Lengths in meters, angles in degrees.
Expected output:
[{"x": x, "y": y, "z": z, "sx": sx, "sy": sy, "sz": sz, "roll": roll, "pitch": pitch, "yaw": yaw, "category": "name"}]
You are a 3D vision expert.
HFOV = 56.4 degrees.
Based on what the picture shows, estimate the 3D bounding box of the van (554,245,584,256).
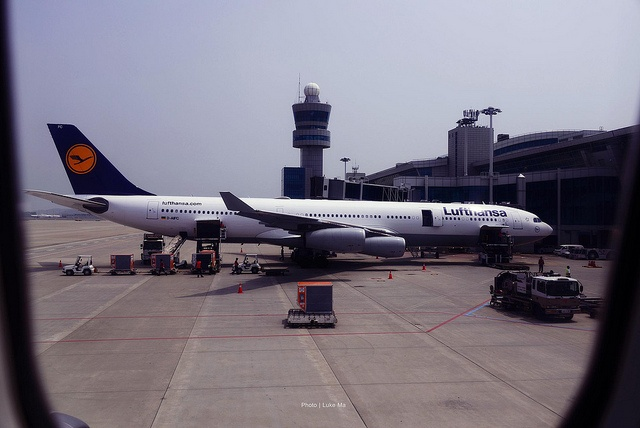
[{"x": 22.939, "y": 3.382, "z": 55.154, "sx": 1.928, "sy": 0.804, "sz": 1.160, "roll": 1, "pitch": 1, "yaw": 8, "category": "van"}]

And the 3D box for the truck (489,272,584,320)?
[{"x": 10.464, "y": 3.932, "z": 29.459, "sx": 1.925, "sy": 1.737, "sz": 4.674, "roll": 1, "pitch": -3, "yaw": -20, "category": "truck"}]

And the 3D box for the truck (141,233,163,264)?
[{"x": -12.656, "y": 2.307, "z": 44.712, "sx": 1.660, "sy": 2.088, "sz": 4.374, "roll": -1, "pitch": 8, "yaw": -16, "category": "truck"}]

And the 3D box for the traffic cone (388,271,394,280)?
[{"x": 4.460, "y": 4.014, "z": 38.152, "sx": 0.303, "sy": 0.312, "sz": 0.315, "roll": 1, "pitch": 5, "yaw": 34, "category": "traffic cone"}]
